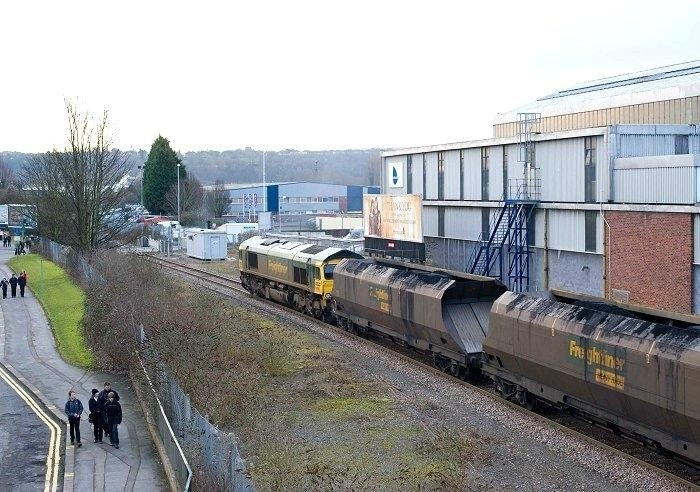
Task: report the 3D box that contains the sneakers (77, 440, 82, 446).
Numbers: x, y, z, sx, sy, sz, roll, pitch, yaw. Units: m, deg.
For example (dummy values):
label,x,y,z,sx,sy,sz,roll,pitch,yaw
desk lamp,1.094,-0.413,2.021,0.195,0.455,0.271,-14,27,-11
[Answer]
label,x,y,z,sx,sy,sz,roll,pitch,yaw
sneakers,-9.504,6.887,20.796,0.118,0.172,0.374,1,-10,-19

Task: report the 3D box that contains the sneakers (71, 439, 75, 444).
label,x,y,z,sx,sy,sz,roll,pitch,yaw
sneakers,-9.769,6.846,20.860,0.138,0.142,0.242,-7,10,-27
